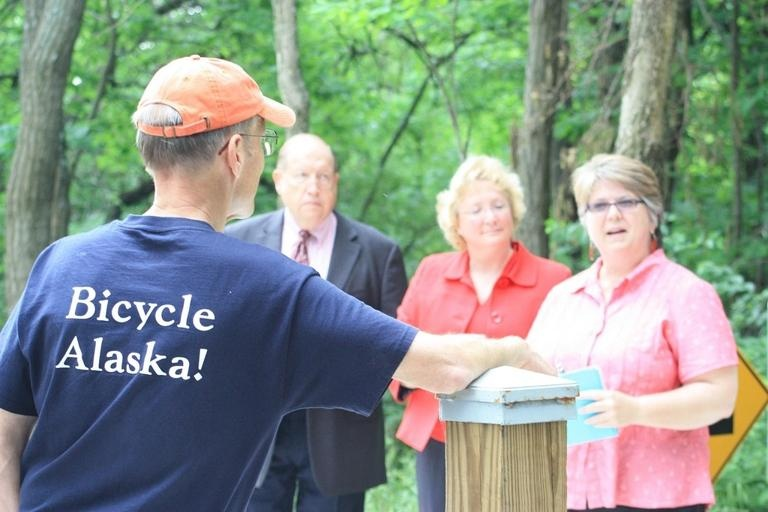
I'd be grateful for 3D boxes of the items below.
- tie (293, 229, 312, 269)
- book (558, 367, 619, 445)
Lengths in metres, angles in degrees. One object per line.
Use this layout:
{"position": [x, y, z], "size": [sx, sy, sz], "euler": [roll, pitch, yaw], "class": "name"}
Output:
{"position": [-0.563, -0.043, 9.867], "size": [0.142, 0.254, 0.070], "euler": [15, -10, -5], "class": "tie"}
{"position": [1.270, 0.900, 8.278], "size": [0.314, 0.482, 0.524], "euler": [-2, -4, 10], "class": "book"}
